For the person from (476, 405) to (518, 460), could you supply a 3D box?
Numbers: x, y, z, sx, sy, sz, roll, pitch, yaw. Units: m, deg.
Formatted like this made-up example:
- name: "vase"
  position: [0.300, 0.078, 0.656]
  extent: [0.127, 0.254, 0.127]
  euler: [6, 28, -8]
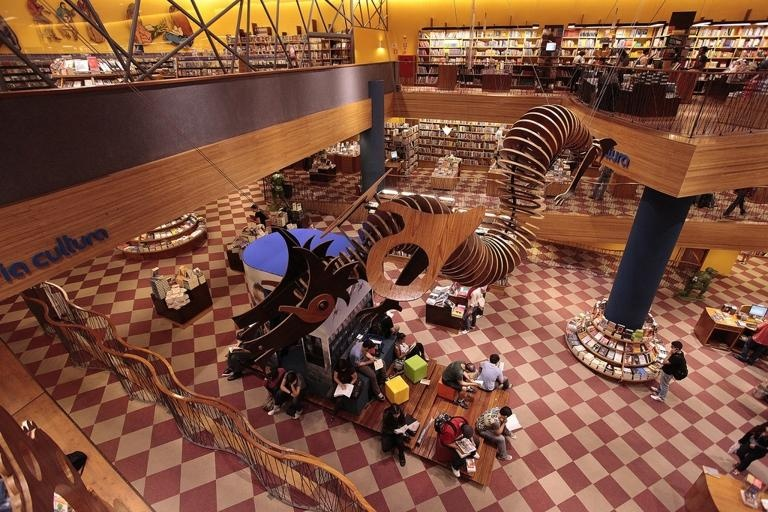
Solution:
- name: "person"
  position: [2.402, 3.816, 9.199]
  extent: [0.716, 0.976, 0.551]
  euler: [9, 50, 13]

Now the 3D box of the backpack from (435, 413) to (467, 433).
- name: "backpack"
  position: [1.391, 3.426, 8.993]
  extent: [0.581, 0.391, 0.558]
  euler: [8, -2, 7]

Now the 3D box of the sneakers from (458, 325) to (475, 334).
- name: "sneakers"
  position: [2.226, 1.988, 11.636]
  extent: [0.478, 0.189, 0.160]
  euler: [-11, 25, -27]

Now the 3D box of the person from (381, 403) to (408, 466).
- name: "person"
  position: [0.195, 3.721, 8.977]
  extent: [0.488, 1.057, 0.722]
  euler: [-3, 35, 0]

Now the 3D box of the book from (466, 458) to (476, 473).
- name: "book"
  position: [1.769, 4.290, 8.831]
  extent: [0.235, 0.038, 0.270]
  euler: [17, 51, -18]

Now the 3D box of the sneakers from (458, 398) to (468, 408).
- name: "sneakers"
  position: [1.808, 3.354, 9.839]
  extent: [0.273, 0.108, 0.102]
  euler: [22, 38, 40]

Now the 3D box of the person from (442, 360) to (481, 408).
- name: "person"
  position: [1.780, 2.817, 9.878]
  extent: [0.801, 1.092, 0.574]
  euler: [12, 32, 16]

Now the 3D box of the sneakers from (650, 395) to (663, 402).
- name: "sneakers"
  position: [6.422, 3.356, 10.230]
  extent: [0.100, 0.126, 0.293]
  euler: [-39, 34, -30]

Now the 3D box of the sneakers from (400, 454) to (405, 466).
- name: "sneakers"
  position: [0.388, 4.231, 8.989]
  extent: [0.106, 0.090, 0.232]
  euler: [-3, 39, -5]

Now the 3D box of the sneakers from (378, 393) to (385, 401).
- name: "sneakers"
  position: [-0.046, 3.232, 9.910]
  extent: [0.071, 0.076, 0.191]
  euler: [-19, 30, -38]

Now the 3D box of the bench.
- name: "bench"
  position: [-0.400, 2.673, 9.868]
  extent: [0.710, 0.832, 2.409]
  euler: [10, 33, 18]

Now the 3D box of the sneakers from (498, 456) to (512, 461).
- name: "sneakers"
  position: [2.544, 4.278, 9.124]
  extent: [0.290, 0.123, 0.100]
  euler: [0, 39, 7]

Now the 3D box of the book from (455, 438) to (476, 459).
- name: "book"
  position: [1.666, 3.885, 8.802]
  extent: [0.428, 0.211, 0.304]
  euler: [-10, 36, -10]

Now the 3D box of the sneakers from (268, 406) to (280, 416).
- name: "sneakers"
  position: [-2.473, 3.483, 9.723]
  extent: [0.102, 0.165, 0.236]
  euler: [33, 37, 28]
